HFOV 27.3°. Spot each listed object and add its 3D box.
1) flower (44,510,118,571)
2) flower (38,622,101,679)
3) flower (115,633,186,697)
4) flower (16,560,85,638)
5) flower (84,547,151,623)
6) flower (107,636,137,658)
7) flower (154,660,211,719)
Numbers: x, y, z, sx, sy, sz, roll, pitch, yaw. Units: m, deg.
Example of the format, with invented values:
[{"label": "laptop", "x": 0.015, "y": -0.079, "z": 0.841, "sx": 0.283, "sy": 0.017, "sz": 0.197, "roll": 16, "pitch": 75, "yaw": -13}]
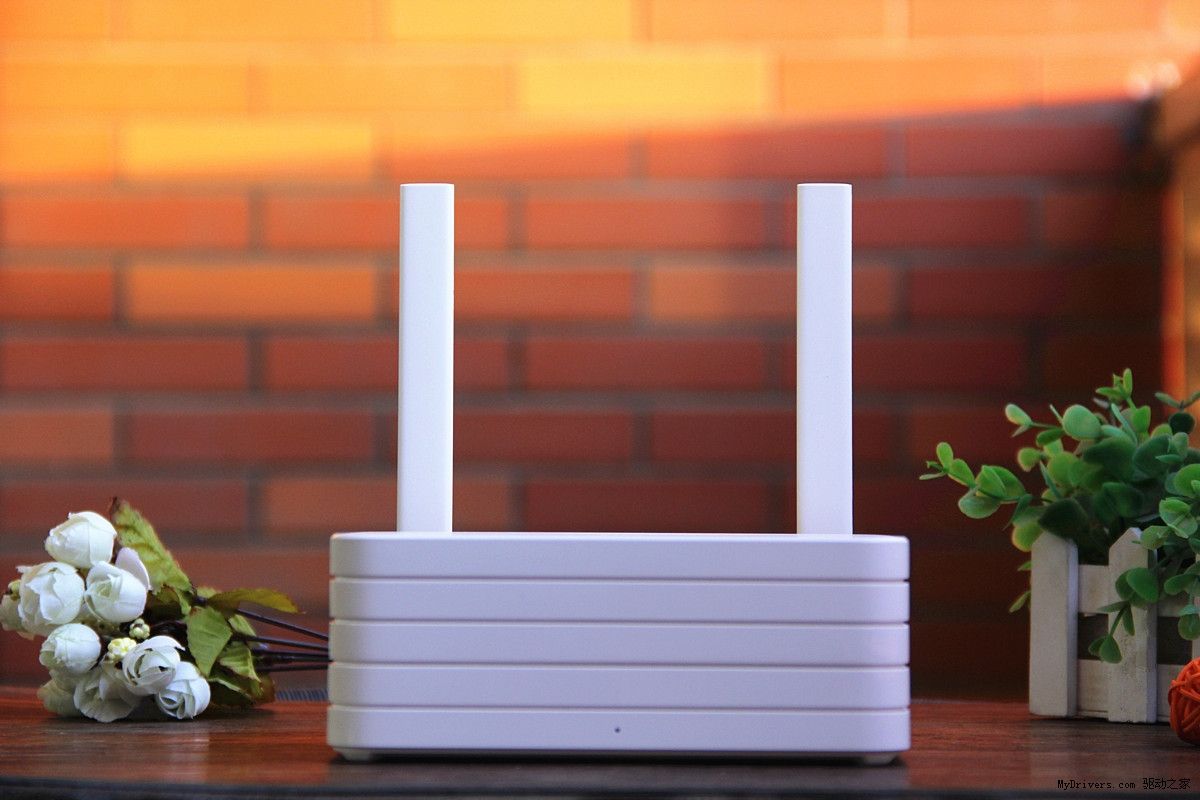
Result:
[{"label": "flower", "x": -0.487, "y": 0.131, "z": 2.305, "sx": 0.070, "sy": 0.046, "sz": 0.047, "roll": 0, "pitch": 13, "yaw": -10}, {"label": "flower", "x": -0.486, "y": 0.230, "z": 2.269, "sx": 0.058, "sy": 0.042, "sz": 0.042, "roll": 1, "pitch": -34, "yaw": -45}, {"label": "flower", "x": -0.413, "y": 0.243, "z": 2.262, "sx": 0.049, "sy": 0.037, "sz": 0.055, "roll": -2, "pitch": -43, "yaw": -26}, {"label": "flower", "x": -0.510, "y": 0.183, "z": 2.289, "sx": 0.069, "sy": 0.063, "sz": 0.039, "roll": -5, "pitch": -15, "yaw": 10}, {"label": "flower", "x": -0.449, "y": 0.174, "z": 2.295, "sx": 0.051, "sy": 0.067, "sz": 0.046, "roll": -5, "pitch": -15, "yaw": 9}, {"label": "flower", "x": -0.443, "y": 0.227, "z": 2.274, "sx": 0.025, "sy": 0.017, "sz": 0.010, "roll": -5, "pitch": -60, "yaw": 29}, {"label": "flower", "x": -0.383, "y": 0.269, "z": 2.277, "sx": 0.063, "sy": 0.051, "sz": 0.048, "roll": -4, "pitch": 1, "yaw": 18}]
